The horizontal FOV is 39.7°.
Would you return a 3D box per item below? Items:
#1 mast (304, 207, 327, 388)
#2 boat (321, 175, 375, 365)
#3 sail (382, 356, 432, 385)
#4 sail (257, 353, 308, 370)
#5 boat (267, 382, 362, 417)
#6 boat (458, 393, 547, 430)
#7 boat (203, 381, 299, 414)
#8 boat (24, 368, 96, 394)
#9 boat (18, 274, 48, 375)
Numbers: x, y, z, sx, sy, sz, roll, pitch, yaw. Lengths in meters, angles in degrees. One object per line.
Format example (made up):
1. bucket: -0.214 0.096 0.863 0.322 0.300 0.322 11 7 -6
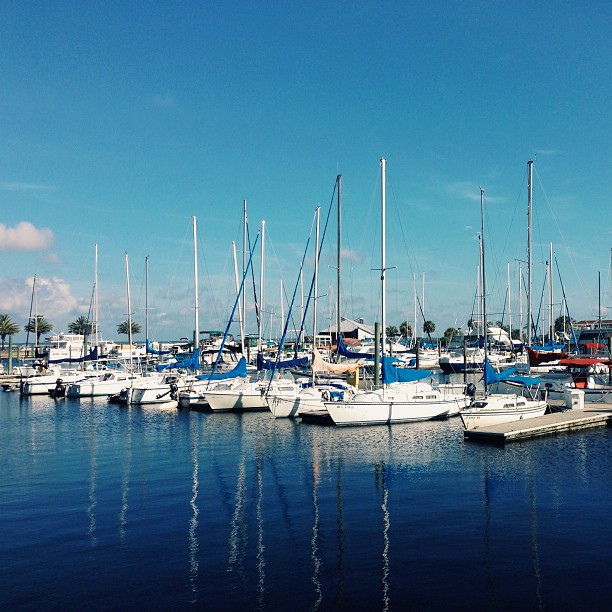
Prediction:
1. mast: 0.455 -0.720 48.250 0.912 10.793 1.225 -2 0 -20
2. boat: 3.061 2.024 56.132 1.548 20.369 2.778 1 -5 -20
3. sail: 5.695 3.728 48.933 4.070 1.863 1.281 3 -4 -32
4. sail: -1.797 4.031 59.321 2.135 0.908 1.462 -2 -1 -8
5. boat: 0.005 5.077 47.973 6.279 1.991 2.115 0 -12 8
6. boat: 9.801 5.265 42.531 6.395 1.285 0.944 -4 5 -42
7. boat: -2.768 5.048 51.186 6.580 2.138 2.300 2 -8 -13
8. boat: -19.584 6.536 67.038 6.126 2.116 1.867 -4 3 -26
9. boat: -24.865 1.982 79.141 2.148 10.826 4.412 -3 -9 -40
